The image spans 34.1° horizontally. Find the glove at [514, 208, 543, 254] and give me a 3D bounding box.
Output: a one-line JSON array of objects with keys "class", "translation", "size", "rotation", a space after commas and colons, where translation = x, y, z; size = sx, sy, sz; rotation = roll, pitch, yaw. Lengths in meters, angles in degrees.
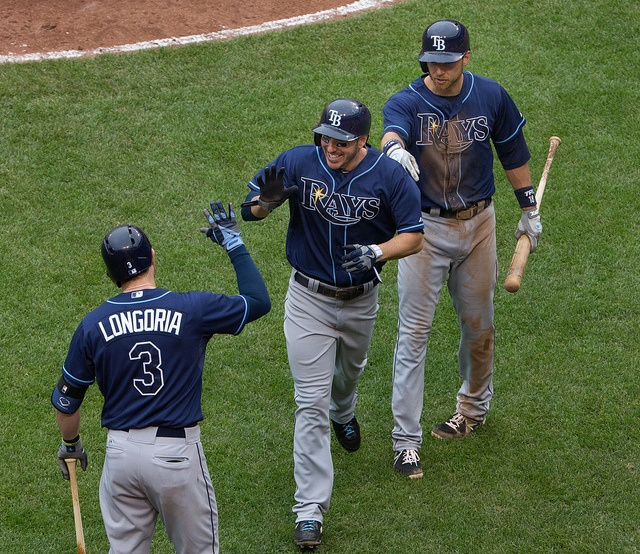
[{"class": "glove", "translation": [1.547, -0.334, 7.662], "size": [0.167, 0.322, 0.113], "rotation": [5, 13, 26]}]

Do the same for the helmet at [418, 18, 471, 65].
[{"class": "helmet", "translation": [0.861, -1.612, 7.103], "size": [0.242, 0.190, 0.350], "rotation": [4, 43, 18]}]

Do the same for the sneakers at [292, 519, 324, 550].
[{"class": "sneakers", "translation": [-0.077, 1.699, 6.843], "size": [0.139, 0.206, 0.406], "rotation": [0, -10, -1]}]

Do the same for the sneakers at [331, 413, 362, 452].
[{"class": "sneakers", "translation": [0.203, 1.160, 7.635], "size": [0.114, 0.352, 0.137], "rotation": [-20, -9, -17]}]

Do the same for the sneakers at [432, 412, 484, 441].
[{"class": "sneakers", "translation": [1.001, 1.095, 7.718], "size": [0.418, 0.172, 0.155], "rotation": [-6, 27, -26]}]

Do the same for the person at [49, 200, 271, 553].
[{"class": "person", "translation": [-0.944, 0.681, 6.305], "size": [1.027, 1.728, 1.339], "rotation": [20, 39, 38]}]

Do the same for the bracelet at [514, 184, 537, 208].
[{"class": "bracelet", "translation": [1.483, -0.581, 7.599], "size": [0.157, 0.166, 0.133], "rotation": [-12, 13, -1]}]

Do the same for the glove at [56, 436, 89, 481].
[{"class": "glove", "translation": [-1.575, 1.139, 6.612], "size": [0.178, 0.260, 0.091], "rotation": [-2, 11, -8]}]

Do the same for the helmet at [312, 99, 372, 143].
[{"class": "helmet", "translation": [0.144, -1.002, 6.717], "size": [0.252, 0.181, 0.342], "rotation": [14, 17, 29]}]

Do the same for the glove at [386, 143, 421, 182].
[{"class": "glove", "translation": [0.524, -0.732, 6.920], "size": [0.077, 0.245, 0.180], "rotation": [-41, 9, 9]}]

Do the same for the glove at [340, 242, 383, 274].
[{"class": "glove", "translation": [0.276, -0.097, 6.708], "size": [0.259, 0.269, 0.245], "rotation": [-5, 30, 4]}]

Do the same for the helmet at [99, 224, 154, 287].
[{"class": "helmet", "translation": [-1.157, -0.133, 6.359], "size": [0.268, 0.332, 0.365], "rotation": [-18, 55, 2]}]
